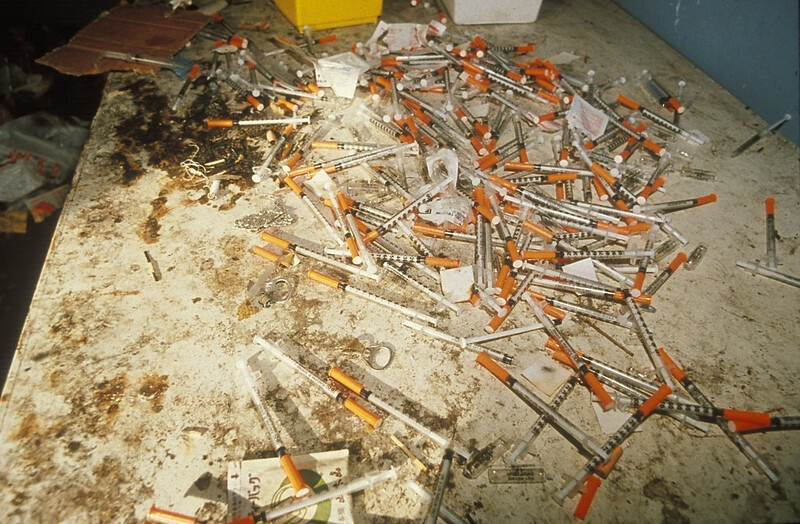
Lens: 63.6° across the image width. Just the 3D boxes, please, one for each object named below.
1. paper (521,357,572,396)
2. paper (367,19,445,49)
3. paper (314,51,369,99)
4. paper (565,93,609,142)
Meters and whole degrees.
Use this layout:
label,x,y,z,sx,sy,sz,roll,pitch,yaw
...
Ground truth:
label,x,y,z,sx,sy,sz,roll,pitch,yaw
paper,1.433,1.106,6.344,0.369,0.052,0.363,42,71,12
paper,0.073,-2.902,8.307,0.815,0.208,0.451,-1,76,2
paper,-0.713,-2.225,7.736,0.565,0.179,0.566,8,76,-8
paper,2.183,-1.683,7.583,0.477,0.124,0.481,24,67,1
